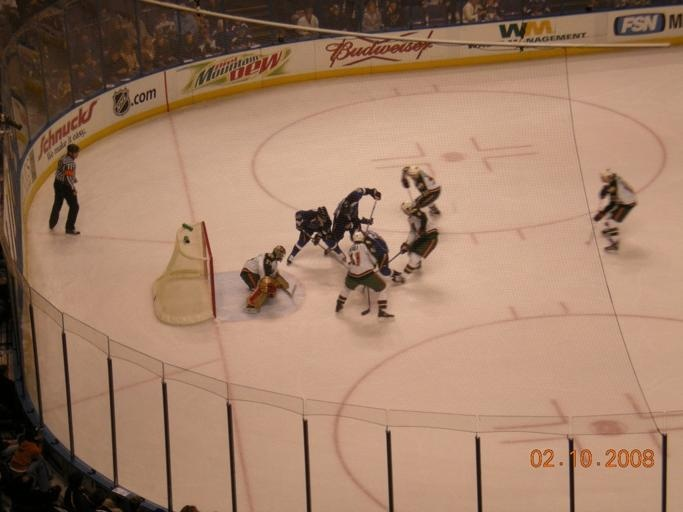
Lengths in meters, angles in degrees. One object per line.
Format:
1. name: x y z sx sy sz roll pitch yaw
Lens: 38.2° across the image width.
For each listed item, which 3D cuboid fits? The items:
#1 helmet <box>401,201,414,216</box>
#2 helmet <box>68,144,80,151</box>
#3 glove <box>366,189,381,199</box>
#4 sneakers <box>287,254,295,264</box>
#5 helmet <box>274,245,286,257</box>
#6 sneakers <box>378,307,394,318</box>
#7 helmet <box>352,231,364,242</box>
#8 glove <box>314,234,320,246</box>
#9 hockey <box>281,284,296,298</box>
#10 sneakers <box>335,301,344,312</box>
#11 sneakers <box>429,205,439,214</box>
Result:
1. helmet: 1.256 -0.881 18.506 0.208 0.253 0.398 -6 10 3
2. helmet: -5.370 -2.127 19.613 0.185 0.147 0.264 -8 10 -8
3. glove: 0.662 -1.198 18.978 0.307 0.115 0.205 24 -4 -13
4. sneakers: -0.998 0.065 19.354 0.128 0.178 0.275 -6 10 6
5. helmet: -1.147 -0.060 18.021 0.198 0.249 0.405 -7 10 0
6. sneakers: 0.775 1.042 17.816 0.379 0.235 0.114 -2 29 -5
7. helmet: 0.297 -0.361 17.504 0.181 0.205 0.202 4 43 1
8. glove: -0.497 -0.307 19.121 0.136 0.171 0.131 -11 12 -20
9. hockey: -0.983 0.651 18.529 0.231 0.225 0.354 -7 10 -1
10. sneakers: -0.046 0.904 18.051 0.169 0.238 0.260 -7 11 0
11. sneakers: 1.981 -0.953 20.654 0.174 0.209 0.342 -2 11 25
